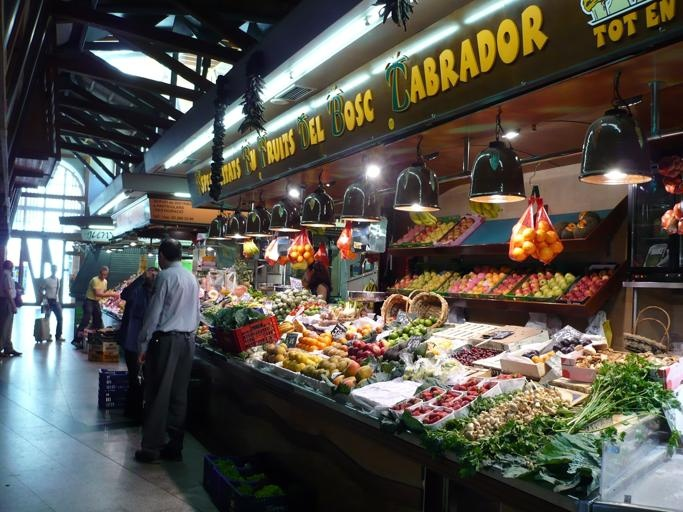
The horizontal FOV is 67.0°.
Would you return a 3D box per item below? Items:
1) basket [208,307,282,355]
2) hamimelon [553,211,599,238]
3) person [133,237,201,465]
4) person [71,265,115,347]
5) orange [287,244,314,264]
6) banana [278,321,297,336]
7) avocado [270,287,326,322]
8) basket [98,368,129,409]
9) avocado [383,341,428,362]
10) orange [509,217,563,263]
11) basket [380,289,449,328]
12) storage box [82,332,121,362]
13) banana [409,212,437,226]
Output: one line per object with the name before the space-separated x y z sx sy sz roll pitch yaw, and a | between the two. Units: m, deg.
basket | -1.049 0.780 5.364 0.542 0.340 0.537 -5 -10 -37
hamimelon | 2.453 -0.322 5.309 0.317 0.128 0.332 -5 30 39
person | -1.741 0.900 5.153 0.657 1.955 0.718 1 7 -22
person | -5.397 1.128 11.222 0.574 1.735 0.761 5 -2 42
orange | -0.511 -0.027 6.414 0.264 0.258 0.145 -33 -14 -21
banana | -0.607 0.796 5.699 0.145 0.049 0.113 -14 40 -29
avocado | -0.572 0.576 6.545 0.519 0.391 0.411 -1 6 -34
basket | -2.869 1.674 6.435 0.465 0.447 0.249 7 -15 -33
avocado | 0.499 0.737 4.010 0.261 0.094 0.154 -7 4 -17
orange | 1.756 -0.144 4.671 0.391 0.399 0.324 6 5 16
basket | 0.754 0.514 5.307 0.428 0.368 0.573 -4 6 -32
storage box | -4.483 1.655 9.530 0.745 0.382 0.313 2 -2 18
banana | 1.007 -0.449 6.328 0.277 0.106 0.207 8 4 -10
